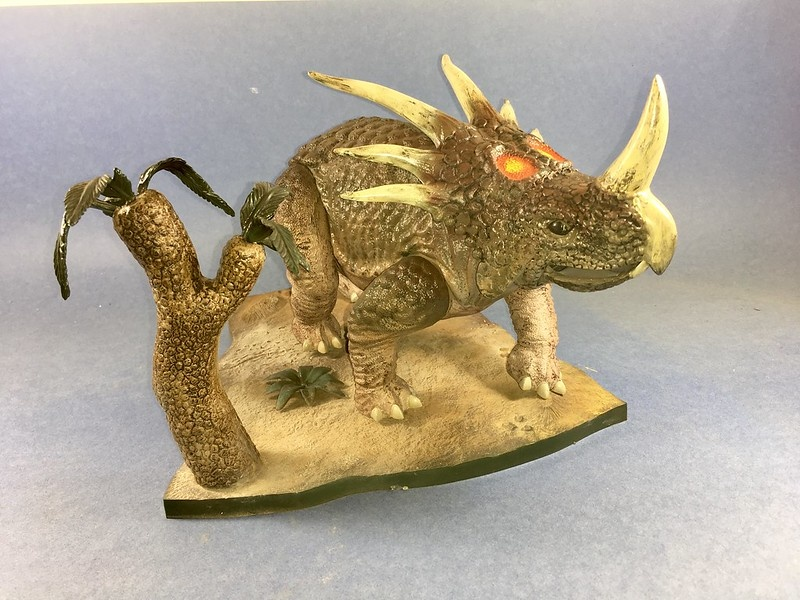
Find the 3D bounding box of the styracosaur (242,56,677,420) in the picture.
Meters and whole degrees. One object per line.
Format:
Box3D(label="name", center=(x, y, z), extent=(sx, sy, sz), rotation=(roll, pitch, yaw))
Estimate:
Box3D(label="styracosaur", center=(0.246, -0.328, 3.671), extent=(1.555, 1.193, 1.052), rotation=(22, 37, 31))
